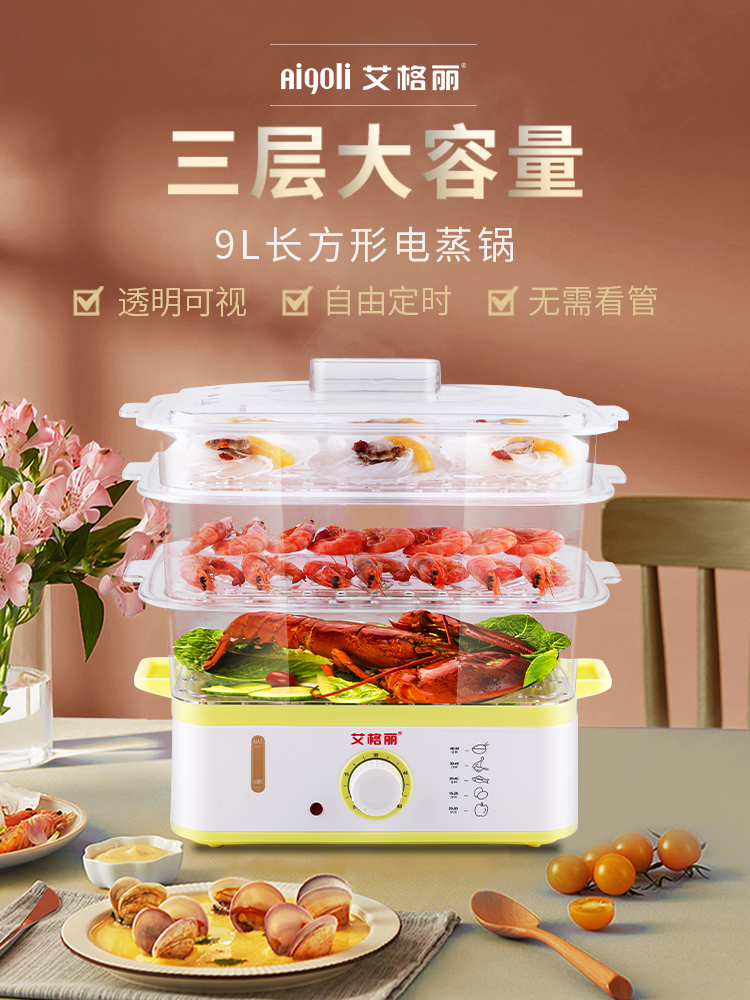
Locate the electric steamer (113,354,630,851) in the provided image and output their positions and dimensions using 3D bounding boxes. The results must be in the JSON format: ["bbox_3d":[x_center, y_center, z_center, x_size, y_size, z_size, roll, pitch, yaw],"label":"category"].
[{"bbox_3d":[-0.073,0.142,1.152,0.660,0.471,0.413,3,-6,-26],"label":"electric steamer"}]

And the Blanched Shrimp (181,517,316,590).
[{"bbox_3d":[-0.120,0.054,1.001,0.118,0.069,0.014,-1,-2,0],"label":"Blanched Shrimp"}]

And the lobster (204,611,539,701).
[{"bbox_3d":[-0.002,0.150,1.006,0.264,0.041,0.122,2,11,2],"label":"lobster"}]

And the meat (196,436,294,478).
[{"bbox_3d":[-0.121,-0.045,0.974,0.082,0.031,0.011,-1,-2,-4],"label":"meat"}]

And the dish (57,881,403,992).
[{"bbox_3d":[-0.111,0.340,0.772,0.257,0.040,0.144,-1,-1,1],"label":"dish"}]

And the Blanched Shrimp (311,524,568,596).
[{"bbox_3d":[0.073,0.060,1.004,0.196,0.024,0.090,-2,38,10],"label":"Blanched Shrimp"}]

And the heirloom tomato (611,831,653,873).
[{"bbox_3d":[0.244,0.328,0.951,0.044,0.035,0.038,-7,-14,9],"label":"heirloom tomato"}]

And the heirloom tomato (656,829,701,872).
[{"bbox_3d":[0.295,0.337,0.977,0.037,0.040,0.071,-2,-2,21],"label":"heirloom tomato"}]

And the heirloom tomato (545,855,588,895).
[{"bbox_3d":[0.175,0.338,0.911,0.043,0.029,0.036,14,-27,5],"label":"heirloom tomato"}]

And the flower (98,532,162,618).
[{"bbox_3d":[-0.303,0.080,1.132,0.031,0.085,0.096,27,13,20],"label":"flower"}]
